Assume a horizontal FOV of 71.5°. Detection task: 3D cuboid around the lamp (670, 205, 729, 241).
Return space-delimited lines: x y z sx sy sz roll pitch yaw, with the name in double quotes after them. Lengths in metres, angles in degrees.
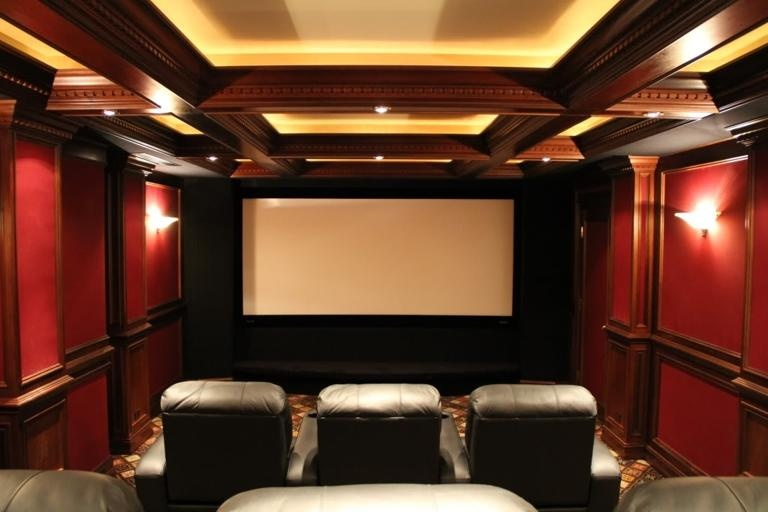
2.287 -0.237 3.848 0.253 0.244 0.134 -9 -93 -2 "lamp"
